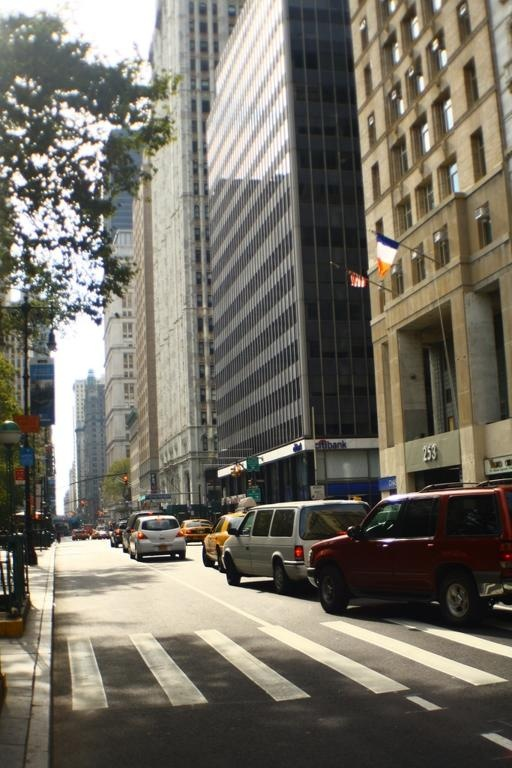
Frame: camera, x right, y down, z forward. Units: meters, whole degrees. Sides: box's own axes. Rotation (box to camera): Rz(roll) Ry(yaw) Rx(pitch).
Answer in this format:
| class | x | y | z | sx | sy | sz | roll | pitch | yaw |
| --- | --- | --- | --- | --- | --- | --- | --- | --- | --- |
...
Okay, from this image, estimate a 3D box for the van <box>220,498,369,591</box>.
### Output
| class | x | y | z | sx | sy | sz | roll | pitch | yaw |
| --- | --- | --- | --- | --- | --- | --- | --- | --- | --- |
| van | 0.825 | 3.212 | 16.191 | 1.633 | 1.351 | 3.087 | 4 | -6 | -21 |
